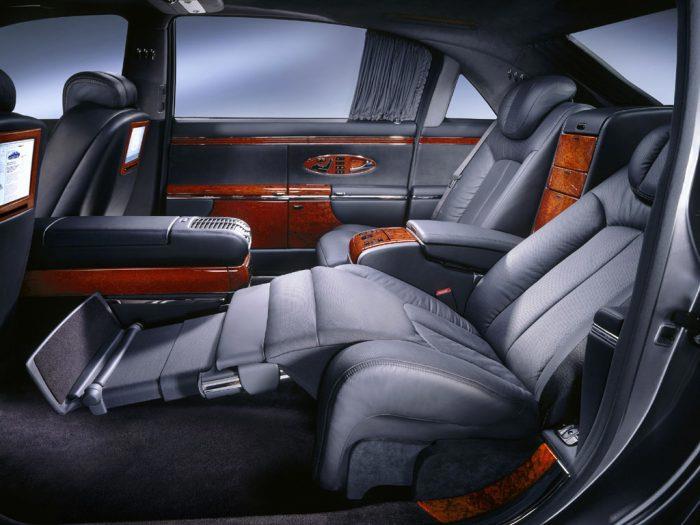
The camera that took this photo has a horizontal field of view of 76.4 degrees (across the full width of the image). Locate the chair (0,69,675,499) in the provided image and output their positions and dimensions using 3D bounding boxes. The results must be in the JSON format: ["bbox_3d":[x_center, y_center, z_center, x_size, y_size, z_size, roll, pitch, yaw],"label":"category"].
[{"bbox_3d":[0.143,0.142,1.691,2.169,1.177,1.231,8,20,-10],"label":"chair"}]
